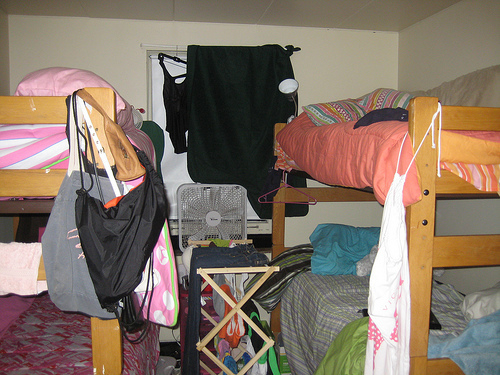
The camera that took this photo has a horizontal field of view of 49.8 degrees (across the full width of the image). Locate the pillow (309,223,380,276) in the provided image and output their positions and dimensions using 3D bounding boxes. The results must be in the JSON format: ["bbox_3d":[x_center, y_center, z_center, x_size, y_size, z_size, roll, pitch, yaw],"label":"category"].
[{"bbox_3d":[0.772,0.486,4.411,0.390,0.475,0.135,6,-27,5],"label":"pillow"}]
